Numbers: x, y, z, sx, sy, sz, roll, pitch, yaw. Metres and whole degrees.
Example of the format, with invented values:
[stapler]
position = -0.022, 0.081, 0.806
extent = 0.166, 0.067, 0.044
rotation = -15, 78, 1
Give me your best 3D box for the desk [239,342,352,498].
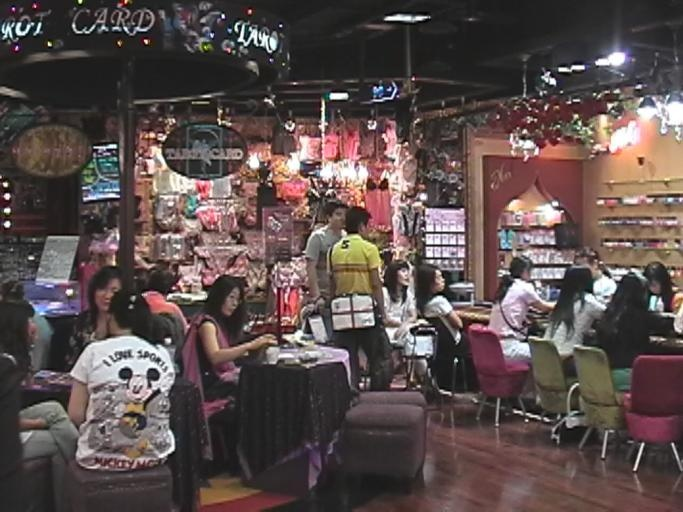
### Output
[desk]
position = -0.214, 1.302, 5.024
extent = 0.765, 0.760, 0.527
rotation = -4, -19, 25
